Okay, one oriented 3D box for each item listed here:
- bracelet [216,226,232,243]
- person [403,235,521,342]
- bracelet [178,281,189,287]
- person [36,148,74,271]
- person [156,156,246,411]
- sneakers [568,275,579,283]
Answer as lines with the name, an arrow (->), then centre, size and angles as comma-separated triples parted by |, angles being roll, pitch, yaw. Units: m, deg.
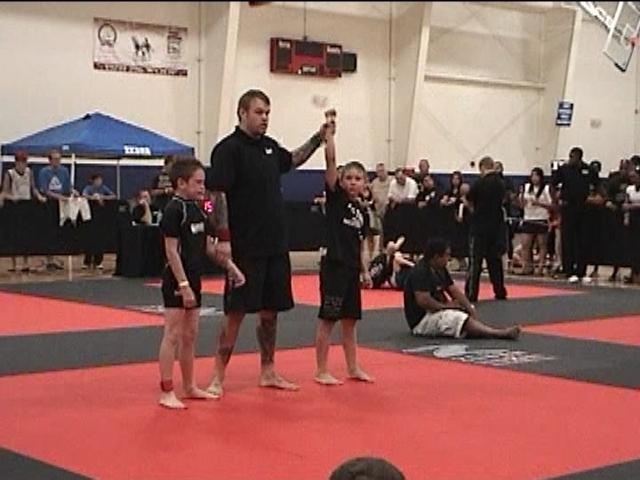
bracelet -> -0.732, -0.036, 4.449 | 0.089, 0.071, 0.091 | 2, 2, 43
person -> 1.540, 0.538, 6.496 | 0.635, 1.154, 1.325 | 7, -5, -41
bracelet -> -0.933, 0.303, 4.008 | 0.071, 0.043, 0.065 | 0, 2, -1
person -> -5.989, -0.764, 13.396 | 0.763, 2.498, 0.826 | 13, 23, 16
person -> -0.892, 0.284, 4.237 | 0.534, 1.756, 0.562 | -1, 3, -16
sneakers -> 4.883, 0.764, 11.347 | 0.160, 0.082, 0.168 | -1, 1, 32
